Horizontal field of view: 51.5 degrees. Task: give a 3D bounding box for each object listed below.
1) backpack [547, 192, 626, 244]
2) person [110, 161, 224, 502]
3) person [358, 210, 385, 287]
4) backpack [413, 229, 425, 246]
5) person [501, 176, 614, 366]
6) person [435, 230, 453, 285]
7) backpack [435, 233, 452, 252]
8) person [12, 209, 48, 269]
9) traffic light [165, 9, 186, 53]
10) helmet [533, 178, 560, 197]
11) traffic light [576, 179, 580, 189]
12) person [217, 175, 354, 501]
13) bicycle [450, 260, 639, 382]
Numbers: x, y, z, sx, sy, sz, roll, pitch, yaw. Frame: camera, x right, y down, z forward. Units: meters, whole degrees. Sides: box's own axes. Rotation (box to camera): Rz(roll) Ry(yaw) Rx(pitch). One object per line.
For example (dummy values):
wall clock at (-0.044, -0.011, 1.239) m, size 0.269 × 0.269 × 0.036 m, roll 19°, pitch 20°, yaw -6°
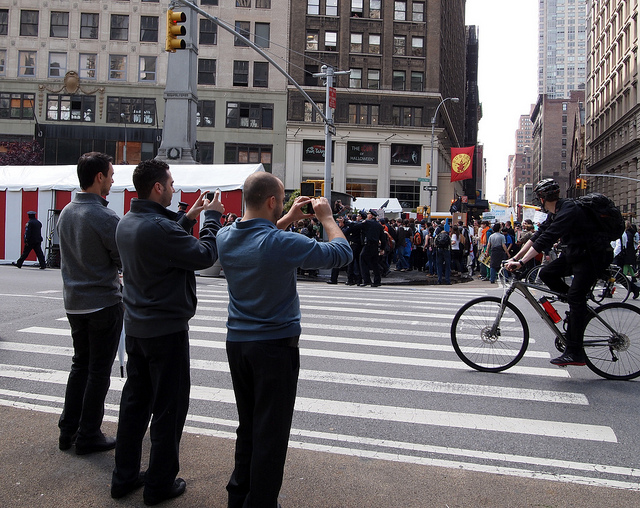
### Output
backpack at (3.301, -0.426, 7.817) m, size 0.529 × 0.569 × 0.298 m, roll 2°, pitch 6°, yaw 18°
person at (-1.211, 0.703, 5.160) m, size 0.845 × 2.305 × 0.534 m, roll -2°, pitch 6°, yaw -21°
person at (1.460, -0.139, 18.636) m, size 0.693 × 2.140 × 1.181 m, roll 1°, pitch 6°, yaw 5°
backpack at (3.730, -0.618, 24.999) m, size 0.377 × 0.653 × 0.740 m, roll 0°, pitch 6°, yaw 2°
person at (2.870, 0.249, 8.033) m, size 1.144 × 2.296 × 0.658 m, roll 0°, pitch 5°, yaw -8°
person at (3.826, 0.120, 20.459) m, size 0.556 × 1.693 × 1.252 m, roll 1°, pitch 6°, yaw 11°
backpack at (3.708, -0.339, 19.947) m, size 0.438 × 0.689 × 0.337 m, roll 1°, pitch -12°, yaw 11°
person at (-9.357, -0.473, 21.454) m, size 0.872 × 1.885 × 1.238 m, roll -2°, pitch 6°, yaw -26°
traffic light at (-3.355, -5.222, 15.466) m, size 0.375 × 0.920 × 0.296 m, roll 8°, pitch 12°, yaw 23°
helmet at (2.780, -0.841, 8.122) m, size 0.208 × 0.284 × 0.272 m, roll -11°, pitch 20°, yaw -32°
traffic light at (16.279, -4.503, 41.778) m, size 0.145 × 0.433 × 0.335 m, roll 3°, pitch 6°, yaw 26°
person at (-0.302, 0.583, 4.691) m, size 0.809 × 2.272 × 0.549 m, roll -1°, pitch 5°, yaw -12°
bicycle at (2.714, 0.795, 8.575) m, size 2.252 × 1.581 × 1.144 m, roll 3°, pitch 0°, yaw 9°
